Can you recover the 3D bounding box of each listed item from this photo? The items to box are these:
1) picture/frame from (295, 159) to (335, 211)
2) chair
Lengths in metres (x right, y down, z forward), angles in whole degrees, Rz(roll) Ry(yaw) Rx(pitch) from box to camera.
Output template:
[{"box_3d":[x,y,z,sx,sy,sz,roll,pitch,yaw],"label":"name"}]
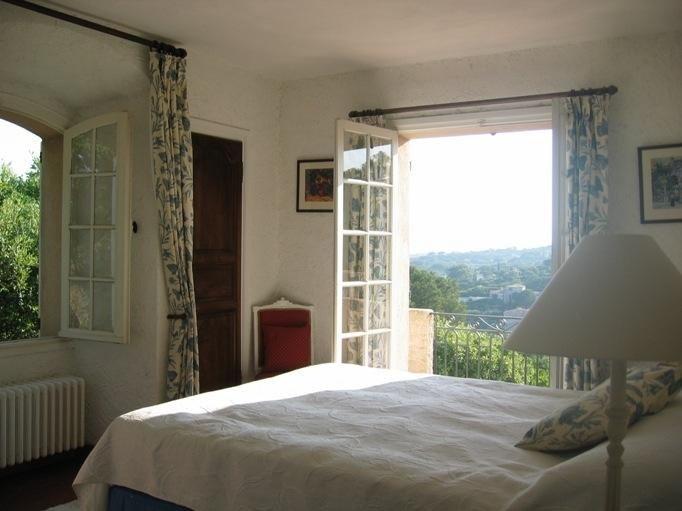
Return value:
[{"box_3d":[-0.235,-0.674,5.395,0.515,0.612,0.027,2,2,32],"label":"picture/frame"},{"box_3d":[-0.529,0.817,5.354,0.711,1.078,0.580,1,-12,-10],"label":"chair"}]
